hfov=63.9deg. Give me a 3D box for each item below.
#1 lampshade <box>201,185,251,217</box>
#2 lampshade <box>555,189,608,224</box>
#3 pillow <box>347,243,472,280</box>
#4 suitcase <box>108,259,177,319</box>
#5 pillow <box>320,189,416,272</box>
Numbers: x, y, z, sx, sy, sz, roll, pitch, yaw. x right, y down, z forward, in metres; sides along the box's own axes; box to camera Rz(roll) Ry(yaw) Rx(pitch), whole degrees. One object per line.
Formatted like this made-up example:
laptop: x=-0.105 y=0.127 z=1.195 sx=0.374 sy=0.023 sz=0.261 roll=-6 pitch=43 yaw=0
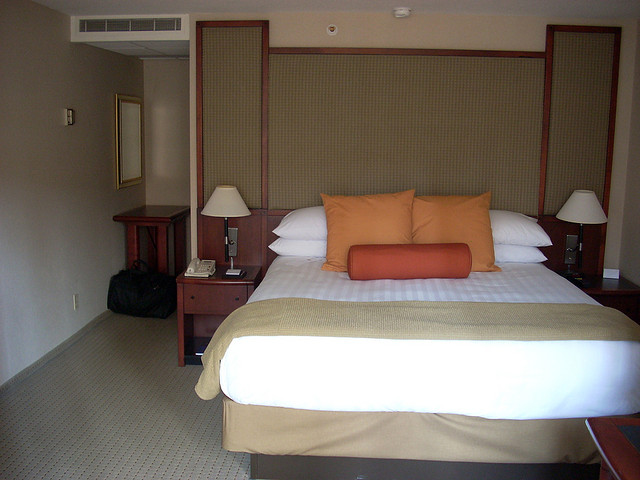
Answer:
lampshade: x=-0.775 y=-0.300 z=4.183 sx=0.278 sy=0.147 sz=0.281 roll=0 pitch=15 yaw=-2
lampshade: x=2.151 y=-0.299 z=4.180 sx=0.283 sy=0.190 sz=0.312 roll=3 pitch=21 yaw=12
pillow: x=0.654 y=0.146 z=3.719 sx=0.847 sy=0.273 sz=0.280 roll=-1 pitch=9 yaw=25
suitcase: x=-1.806 y=0.463 z=5.180 sx=0.662 sy=0.561 sz=0.359 roll=5 pitch=20 yaw=-5
pillow: x=0.366 y=-0.053 z=3.870 sx=0.576 sy=0.474 sz=0.205 roll=-2 pitch=-17 yaw=2
